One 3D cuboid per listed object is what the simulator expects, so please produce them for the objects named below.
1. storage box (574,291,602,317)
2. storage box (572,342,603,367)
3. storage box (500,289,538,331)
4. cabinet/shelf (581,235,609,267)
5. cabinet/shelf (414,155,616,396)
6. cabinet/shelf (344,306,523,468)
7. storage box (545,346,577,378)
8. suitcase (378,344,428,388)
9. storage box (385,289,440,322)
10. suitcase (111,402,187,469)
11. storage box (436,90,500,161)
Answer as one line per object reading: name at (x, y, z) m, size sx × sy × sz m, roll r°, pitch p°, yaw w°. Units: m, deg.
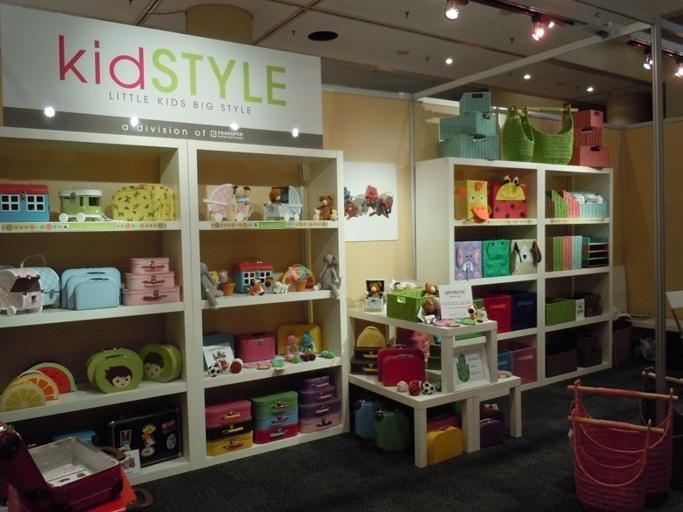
storage box at (2.692, 0.510, 6.018) m, size 0.228 × 0.322 × 0.317 m, roll 2°, pitch -3°, yaw -27°
storage box at (2.694, 0.998, 5.896) m, size 0.340 × 0.246 × 0.187 m, roll -3°, pitch 2°, yaw -32°
storage box at (1.824, 0.519, 5.410) m, size 0.334 × 0.337 × 0.333 m, roll -5°, pitch 3°, yaw -36°
cabinet/shelf at (2.790, -0.082, 6.030) m, size 0.474 × 0.384 × 0.274 m, roll -3°, pitch 3°, yaw -32°
cabinet/shelf at (1.640, 0.175, 5.207) m, size 2.198 × 2.124 × 0.591 m, roll -5°, pitch 9°, yaw -32°
cabinet/shelf at (0.727, 0.881, 4.573) m, size 1.039 × 1.077 × 1.199 m, roll -4°, pitch 5°, yaw -39°
storage box at (2.282, 1.096, 5.595) m, size 0.412 × 0.194 × 0.224 m, roll -5°, pitch 7°, yaw -31°
suitcase at (0.483, 0.856, 4.323) m, size 0.346 × 0.321 × 0.262 m, roll 0°, pitch -3°, yaw -9°
storage box at (0.545, 0.387, 4.425) m, size 0.258 × 0.162 × 0.263 m, roll 6°, pitch 8°, yaw 42°
suitcase at (-1.356, 1.286, 3.843) m, size 0.509 × 0.423 × 0.183 m, roll -3°, pitch 1°, yaw -36°
storage box at (1.221, -1.240, 5.280) m, size 0.522 × 0.706 × 0.668 m, roll -2°, pitch 3°, yaw -31°
